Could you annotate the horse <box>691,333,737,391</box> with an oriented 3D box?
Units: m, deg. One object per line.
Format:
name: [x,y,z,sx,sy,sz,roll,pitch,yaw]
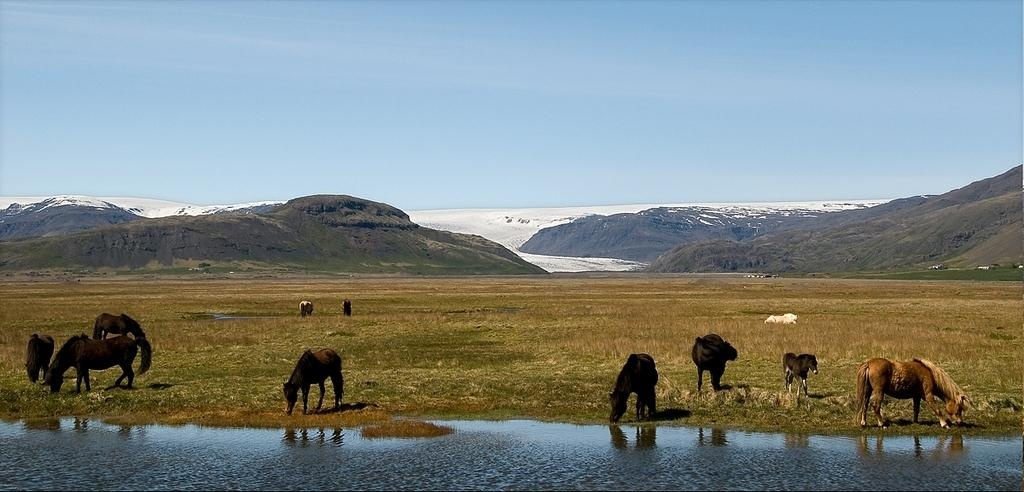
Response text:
horse: [22.718,13.144,101.718,3.996,6.231,2.994,0,0,10]
